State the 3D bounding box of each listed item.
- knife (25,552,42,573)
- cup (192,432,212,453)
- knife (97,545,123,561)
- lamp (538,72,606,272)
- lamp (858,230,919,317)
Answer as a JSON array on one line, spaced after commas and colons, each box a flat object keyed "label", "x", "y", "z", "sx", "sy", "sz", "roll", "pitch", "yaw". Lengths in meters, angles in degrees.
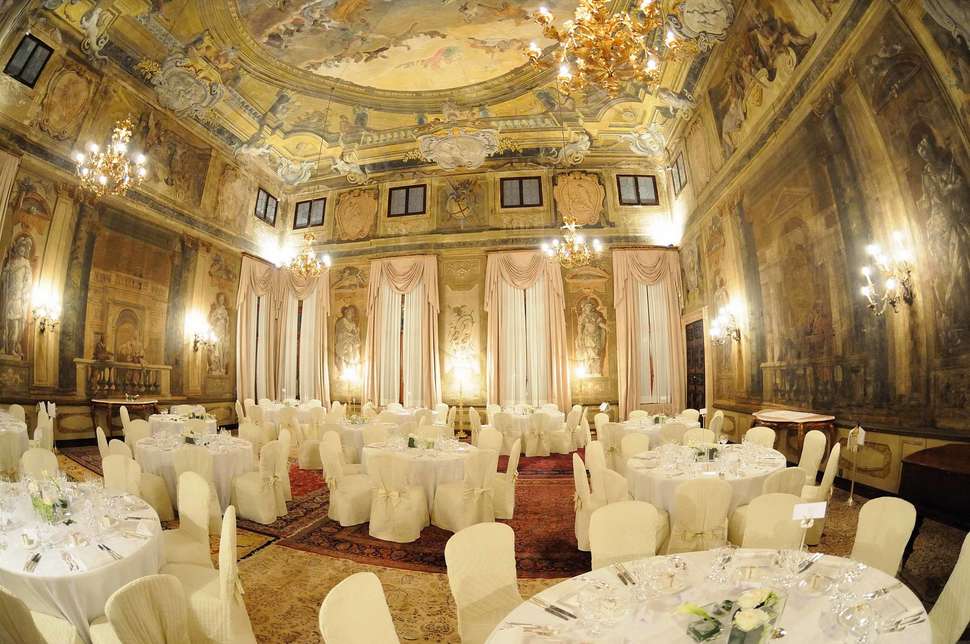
[{"label": "knife", "x": -4.366, "y": 2.327, "z": 4.899, "sx": 0.083, "sy": 0.118, "sz": 0.034, "roll": 3, "pitch": -21, "yaw": 33}, {"label": "cup", "x": -4.634, "y": 1.965, "z": 8.294, "sx": 0.349, "sy": 0.207, "sz": 0.500, "roll": 9, "pitch": -3, "yaw": -10}, {"label": "knife", "x": -3.736, "y": 2.285, "z": 5.028, "sx": 0.407, "sy": 0.039, "sz": 0.104, "roll": 8, "pitch": 15, "yaw": 39}, {"label": "lamp", "x": 2.286, "y": -3.111, "z": 13.473, "sx": 1.523, "sy": 3.531, "sz": 1.544, "roll": -13, "pitch": 12, "yaw": -21}, {"label": "lamp", "x": 6.201, "y": -0.698, "z": 7.892, "sx": 0.224, "sy": 1.223, "sz": 0.850, "roll": 1, "pitch": -7, "yaw": -9}]
